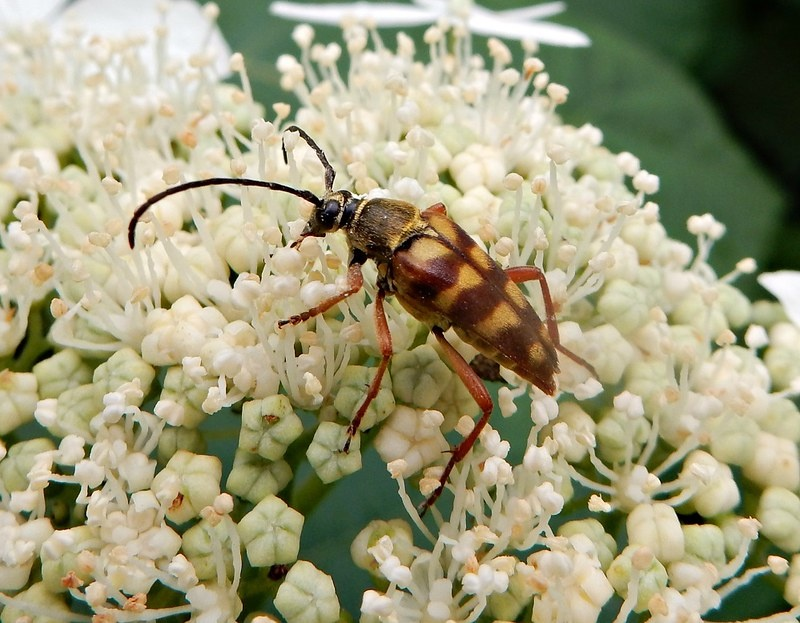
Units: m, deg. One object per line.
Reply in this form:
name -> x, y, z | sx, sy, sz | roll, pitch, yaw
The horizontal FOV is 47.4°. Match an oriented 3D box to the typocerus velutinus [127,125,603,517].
typocerus velutinus -> 0.012, -0.073, 2.165 | 0.595, 0.460, 0.929 | -40, 68, -21
